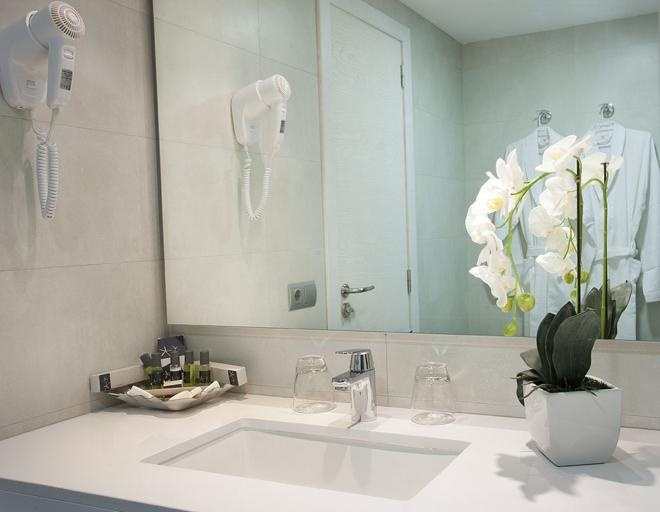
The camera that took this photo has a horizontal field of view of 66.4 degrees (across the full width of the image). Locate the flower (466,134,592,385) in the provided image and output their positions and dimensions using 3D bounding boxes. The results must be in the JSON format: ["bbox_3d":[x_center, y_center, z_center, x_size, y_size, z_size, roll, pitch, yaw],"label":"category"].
[{"bbox_3d":[0.490,-0.004,1.192,0.347,0.577,0.269,-1,0,29],"label":"flower"}]

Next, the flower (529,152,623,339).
[{"bbox_3d":[0.599,-0.026,1.225,0.106,0.425,0.212,4,6,32],"label":"flower"}]

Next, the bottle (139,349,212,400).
[{"bbox_3d":[-0.512,0.379,1.638,0.280,0.141,0.191,-1,0,37],"label":"bottle"}]

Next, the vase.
[{"bbox_3d":[0.524,0.354,1.131,0.166,0.166,0.176,-1,-9,0],"label":"vase"}]

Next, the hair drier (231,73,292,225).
[{"bbox_3d":[-0.231,-0.342,1.659,0.192,0.451,0.126,-1,-5,29],"label":"hair drier"}]

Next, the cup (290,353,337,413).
[{"bbox_3d":[-0.059,0.379,1.552,0.132,0.165,0.140,-2,2,0],"label":"cup"}]

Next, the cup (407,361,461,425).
[{"bbox_3d":[0.284,0.351,1.363,0.119,0.164,0.116,-1,-5,0],"label":"cup"}]

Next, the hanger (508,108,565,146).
[{"bbox_3d":[0.523,-0.324,1.260,0.114,0.089,0.033,0,1,22],"label":"hanger"}]
